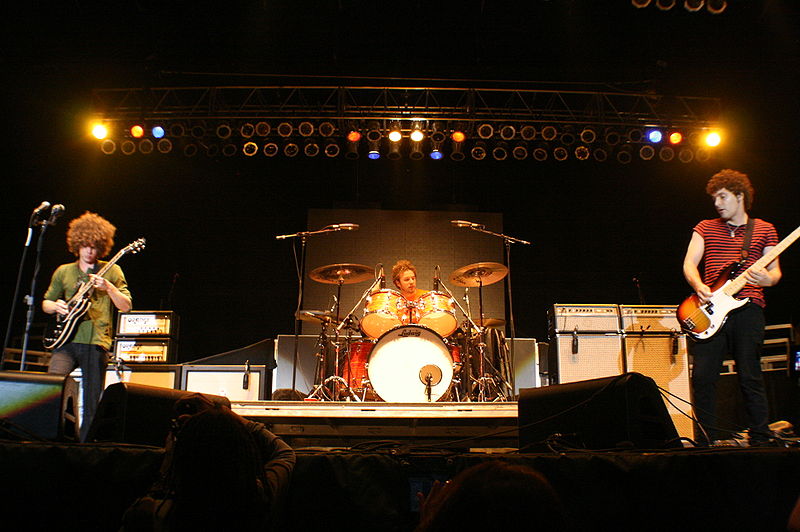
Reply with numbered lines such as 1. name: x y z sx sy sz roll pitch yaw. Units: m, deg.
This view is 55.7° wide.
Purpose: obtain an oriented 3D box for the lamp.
1. lamp: 0.145 -1.678 9.958 1.590 0.657 0.345 -9 -36 8

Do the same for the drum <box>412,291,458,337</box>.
1. drum: 0.383 0.437 8.129 0.473 0.344 0.465 0 -39 0

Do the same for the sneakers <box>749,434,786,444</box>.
1. sneakers: 2.921 1.389 6.026 0.130 0.066 0.203 8 -13 -2

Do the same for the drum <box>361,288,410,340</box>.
1. drum: -0.188 0.488 8.054 0.520 0.379 0.522 0 -47 0

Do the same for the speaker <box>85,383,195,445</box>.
1. speaker: -1.940 1.051 5.527 0.680 0.459 0.514 8 -9 -19

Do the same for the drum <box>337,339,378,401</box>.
1. drum: -0.654 1.163 8.524 0.501 0.564 0.505 -12 -15 22

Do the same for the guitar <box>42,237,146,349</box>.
1. guitar: -3.133 0.281 7.809 0.434 1.269 0.987 2 -12 6

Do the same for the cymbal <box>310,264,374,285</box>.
1. cymbal: -0.650 0.063 8.521 0.706 0.297 0.527 1 -13 8

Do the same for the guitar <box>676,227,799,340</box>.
1. guitar: 3.246 0.181 7.183 1.483 0.407 0.167 -44 -15 2

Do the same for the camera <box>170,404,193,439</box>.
1. camera: -1.331 0.945 4.611 0.069 0.146 0.204 15 -63 -50

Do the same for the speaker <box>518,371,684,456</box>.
1. speaker: 1.407 1.059 5.434 1.115 0.574 0.220 0 -12 10

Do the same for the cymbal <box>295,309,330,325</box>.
1. cymbal: -0.962 0.565 8.365 0.339 0.078 0.339 5 -10 -17
